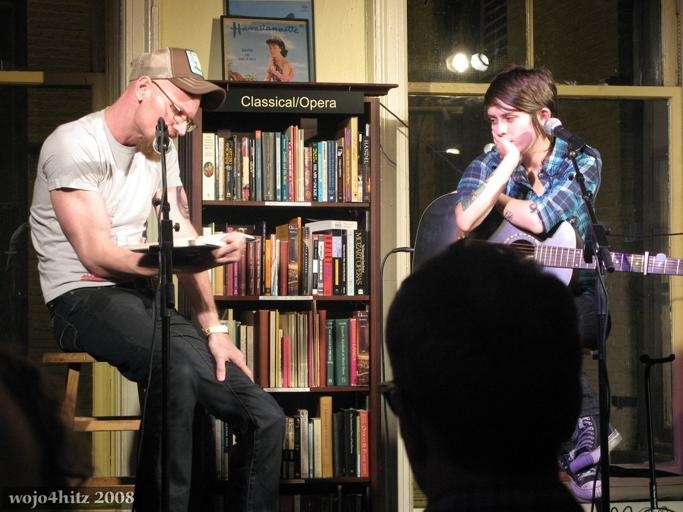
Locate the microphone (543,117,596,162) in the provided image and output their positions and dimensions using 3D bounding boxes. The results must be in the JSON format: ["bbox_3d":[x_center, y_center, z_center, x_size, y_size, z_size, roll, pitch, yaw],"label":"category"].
[{"bbox_3d":[1.173,-0.599,6.855,0.378,0.119,0.118,29,-24,-20],"label":"microphone"}]

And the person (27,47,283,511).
[{"bbox_3d":[-0.847,0.096,6.082,0.993,2.153,0.714,0,1,-30],"label":"person"}]

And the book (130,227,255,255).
[{"bbox_3d":[-0.665,-0.064,5.924,0.552,0.097,0.217,0,2,-9],"label":"book"}]

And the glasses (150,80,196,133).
[{"bbox_3d":[-0.821,-0.690,6.226,0.063,0.224,0.209,-31,-18,6],"label":"glasses"}]

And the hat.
[{"bbox_3d":[-0.761,-0.827,6.202,0.387,0.214,0.244,4,0,-2],"label":"hat"}]
